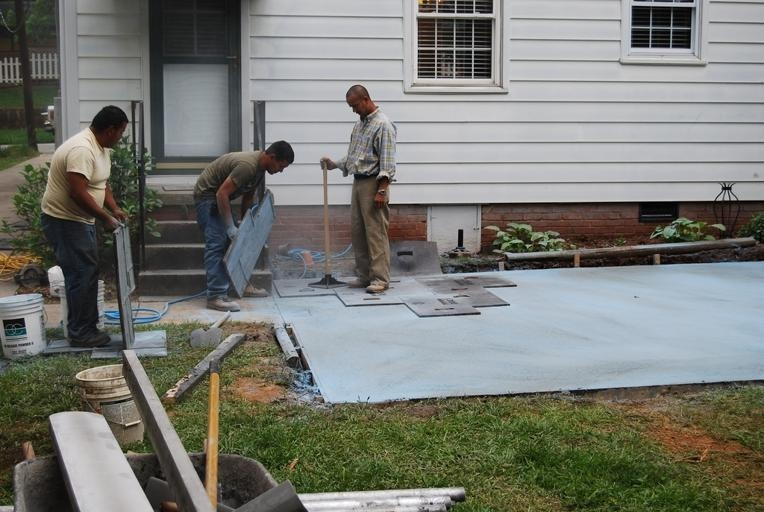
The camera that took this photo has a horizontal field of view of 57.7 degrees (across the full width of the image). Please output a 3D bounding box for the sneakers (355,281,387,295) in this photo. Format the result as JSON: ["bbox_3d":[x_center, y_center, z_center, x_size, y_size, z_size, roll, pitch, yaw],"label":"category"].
[{"bbox_3d":[-0.112,0.386,8.383,0.382,0.139,0.160,9,-7,-40],"label":"sneakers"}]

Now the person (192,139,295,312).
[{"bbox_3d":[-1.645,-0.375,8.027,0.911,1.889,0.834,-7,11,-38],"label":"person"}]

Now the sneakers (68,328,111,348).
[{"bbox_3d":[-2.685,0.770,6.507,0.426,0.149,0.142,-5,4,-10],"label":"sneakers"}]

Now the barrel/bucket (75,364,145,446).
[{"bbox_3d":[-1.973,1.085,5.045,0.373,0.483,0.532,-6,9,-32],"label":"barrel/bucket"}]

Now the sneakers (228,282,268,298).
[{"bbox_3d":[-1.586,0.424,8.345,0.534,0.174,0.165,0,-2,-7],"label":"sneakers"}]

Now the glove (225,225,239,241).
[{"bbox_3d":[-1.703,-0.275,7.876,0.171,0.190,0.070,-5,-12,5],"label":"glove"}]

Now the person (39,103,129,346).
[{"bbox_3d":[-2.736,-0.268,6.417,0.830,2.215,0.549,-2,9,-5],"label":"person"}]

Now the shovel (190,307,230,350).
[{"bbox_3d":[-1.706,0.733,6.884,0.311,0.187,0.754,-1,3,-2],"label":"shovel"}]

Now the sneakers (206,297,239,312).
[{"bbox_3d":[-1.791,0.553,7.799,0.418,0.141,0.146,-1,0,24],"label":"sneakers"}]

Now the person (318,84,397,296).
[{"bbox_3d":[-0.198,-0.814,8.384,0.768,2.478,0.486,2,9,19],"label":"person"}]
